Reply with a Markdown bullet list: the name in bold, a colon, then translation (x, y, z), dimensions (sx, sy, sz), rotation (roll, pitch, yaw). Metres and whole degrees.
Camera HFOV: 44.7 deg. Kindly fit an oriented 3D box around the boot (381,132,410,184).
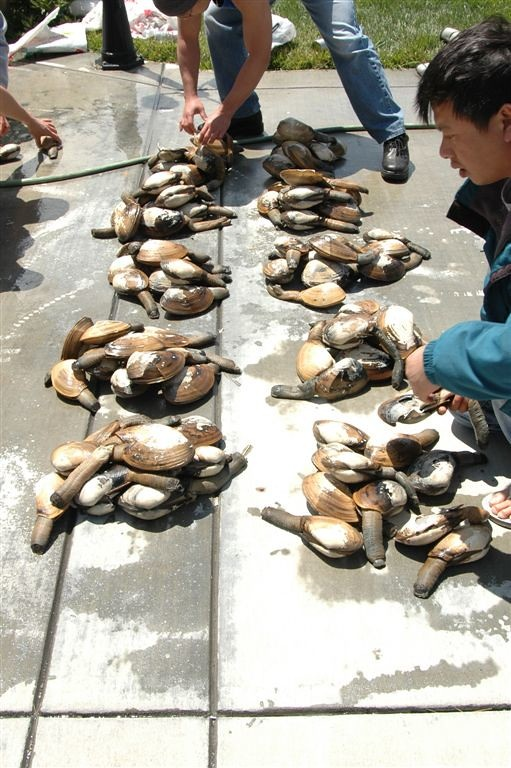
- **boot**: translation (0.751, -1.190, 3.315), dimensions (0.119, 0.155, 0.349), rotation (1, 39, 10)
